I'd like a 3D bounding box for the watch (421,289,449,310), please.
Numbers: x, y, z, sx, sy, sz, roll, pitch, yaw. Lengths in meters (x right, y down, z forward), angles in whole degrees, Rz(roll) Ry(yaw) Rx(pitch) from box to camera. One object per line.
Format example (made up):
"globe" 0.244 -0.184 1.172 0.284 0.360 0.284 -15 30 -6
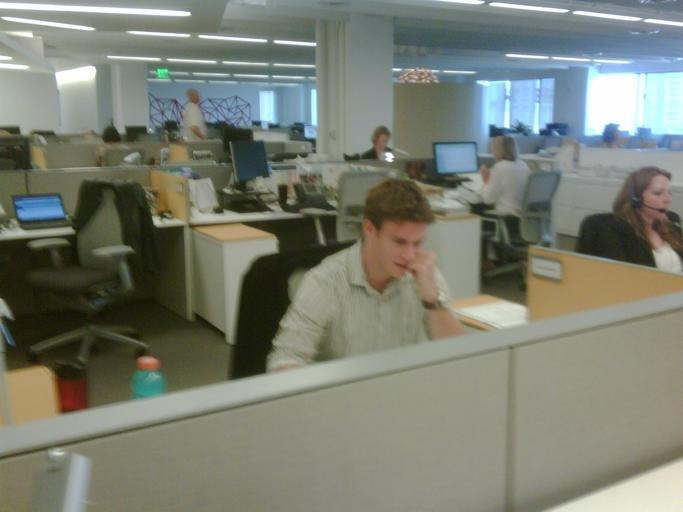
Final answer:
"watch" 0.259 0.124 1.520 0.060 0.035 0.046 0 2 33

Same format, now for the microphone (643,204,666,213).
"microphone" 1.593 -0.234 2.790 0.061 0.018 0.070 5 4 -29
